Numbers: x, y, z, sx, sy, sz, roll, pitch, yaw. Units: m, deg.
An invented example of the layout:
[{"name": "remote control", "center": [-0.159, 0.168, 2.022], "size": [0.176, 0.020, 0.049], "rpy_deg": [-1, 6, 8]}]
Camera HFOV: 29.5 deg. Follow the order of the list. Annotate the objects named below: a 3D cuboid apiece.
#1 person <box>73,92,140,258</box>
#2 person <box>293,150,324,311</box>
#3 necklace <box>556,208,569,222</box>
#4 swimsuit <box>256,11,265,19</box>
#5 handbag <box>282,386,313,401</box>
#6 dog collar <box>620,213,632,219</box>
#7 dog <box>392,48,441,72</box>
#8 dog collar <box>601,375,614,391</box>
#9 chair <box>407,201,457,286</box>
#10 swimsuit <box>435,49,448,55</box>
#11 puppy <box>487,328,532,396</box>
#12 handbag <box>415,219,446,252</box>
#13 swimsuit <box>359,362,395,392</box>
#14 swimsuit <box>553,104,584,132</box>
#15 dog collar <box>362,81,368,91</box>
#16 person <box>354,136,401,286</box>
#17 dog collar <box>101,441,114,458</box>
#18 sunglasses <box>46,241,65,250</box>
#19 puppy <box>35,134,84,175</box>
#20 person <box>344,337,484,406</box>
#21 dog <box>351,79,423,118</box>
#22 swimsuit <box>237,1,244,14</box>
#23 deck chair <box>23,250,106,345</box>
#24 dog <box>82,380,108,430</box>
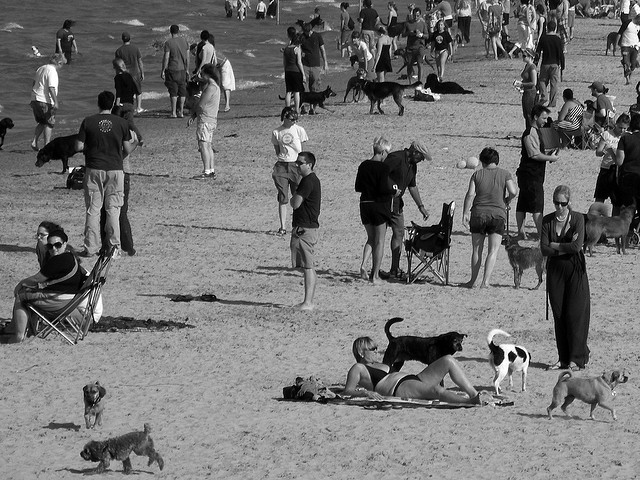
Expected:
[{"name": "person", "center": [-3.516, -1.041, 19.949], "size": [0.934, 2.751, 0.629], "rpy_deg": [-4, 12, -14]}, {"name": "person", "center": [-0.189, -0.103, 18.152], "size": [0.352, 2.394, 0.469], "rpy_deg": [5, 13, 26]}, {"name": "necklace", "center": [3.355, -0.345, 16.758], "size": [0.152, 0.174, 0.041], "rpy_deg": [12, 4, 10]}, {"name": "swimsuit", "center": [-2.891, -11.118, 59.911], "size": [0.366, 0.399, 0.654], "rpy_deg": [-2, 13, -4]}, {"name": "handbag", "center": [-0.314, 2.033, 16.019], "size": [0.284, 0.146, 0.196], "rpy_deg": [6, 13, 26]}, {"name": "dog collar", "center": [5.300, -0.420, 20.999], "size": [0.131, 0.021, 0.018], "rpy_deg": [33, 34, -2]}, {"name": "dog", "center": [2.981, -5.498, 37.113], "size": [1.284, 0.720, 2.044], "rpy_deg": [1, 7, 1]}, {"name": "dog collar", "center": [3.716, 1.850, 15.680], "size": [0.138, 0.176, 0.047], "rpy_deg": [2, 12, 13]}, {"name": "chair", "center": [1.753, 0.017, 19.711], "size": [0.763, 1.377, 0.826], "rpy_deg": [2, 5, 14]}, {"name": "swimsuit", "center": [3.480, -5.411, 34.794], "size": [0.244, 0.141, 0.598], "rpy_deg": [-2, 14, -4]}, {"name": "puppy", "center": [2.499, 1.571, 16.398], "size": [0.572, 0.866, 0.726], "rpy_deg": [2, 12, 5]}, {"name": "handbag", "center": [1.894, -0.015, 19.625], "size": [0.412, 0.502, 0.180], "rpy_deg": [8, -13, 27]}, {"name": "swimsuit", "center": [0.807, 1.787, 16.030], "size": [0.439, 0.321, 0.170], "rpy_deg": [-7, 13, -23]}, {"name": "swimsuit", "center": [5.468, -2.659, 26.497], "size": [0.708, 0.638, 0.512], "rpy_deg": [-4, 13, -12]}, {"name": "dog collar", "center": [1.162, -3.966, 31.031], "size": [0.042, 0.155, 0.274], "rpy_deg": [-4, 13, -12]}, {"name": "person", "center": [0.924, -0.458, 19.354], "size": [0.668, 2.350, 0.572], "rpy_deg": [0, 11, 4]}, {"name": "dog collar", "center": [-2.534, 2.520, 14.560], "size": [0.162, 0.192, 0.043], "rpy_deg": [-3, 5, 1]}, {"name": "sunglasses", "center": [-3.771, 0.081, 17.323], "size": [0.257, 0.118, 0.107], "rpy_deg": [-1, 12, 2]}, {"name": "puppy", "center": [-5.437, -1.787, 25.328], "size": [0.957, 0.818, 0.426], "rpy_deg": [3, 13, 19]}, {"name": "person", "center": [1.209, 1.827, 16.043], "size": [1.332, 0.733, 0.954], "rpy_deg": [1, 0, 15]}, {"name": "dog", "center": [1.687, -3.602, 30.760], "size": [1.840, 0.947, 0.491], "rpy_deg": [3, 2, 29]}, {"name": "swimsuit", "center": [-3.927, -11.587, 60.048], "size": [0.221, 0.703, 0.440], "rpy_deg": [-3, 7, 38]}, {"name": "deck chair", "center": [-3.608, 0.847, 17.388], "size": [1.141, 1.186, 0.434], "rpy_deg": [-4, 12, -11]}, {"name": "dog", "center": [-2.847, 2.062, 15.385], "size": [0.259, 0.601, 0.455], "rpy_deg": [-4, 12, -13]}]
